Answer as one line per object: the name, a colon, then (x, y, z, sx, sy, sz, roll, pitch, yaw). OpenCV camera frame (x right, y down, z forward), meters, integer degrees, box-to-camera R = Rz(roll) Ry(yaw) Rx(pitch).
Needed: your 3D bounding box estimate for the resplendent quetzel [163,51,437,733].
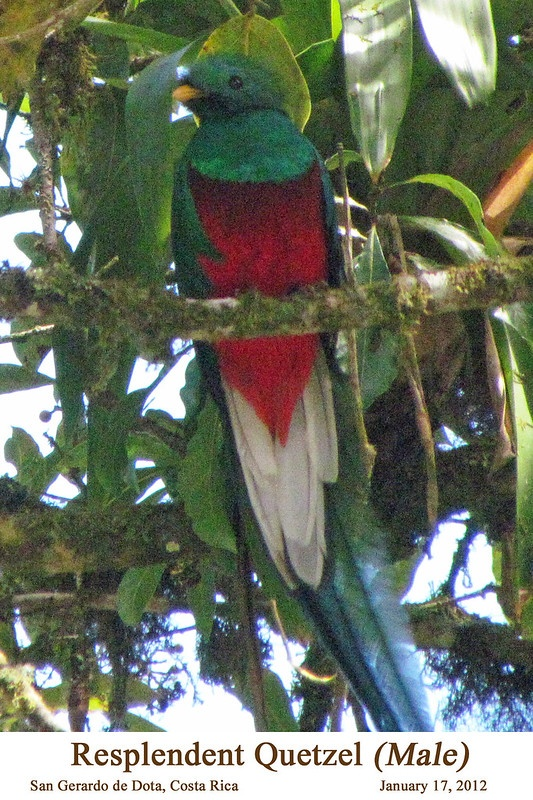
resplendent quetzel: (0.038, -0.024, 1.972, 0.231, 0.435, 1.223, -11, 87, 0)
